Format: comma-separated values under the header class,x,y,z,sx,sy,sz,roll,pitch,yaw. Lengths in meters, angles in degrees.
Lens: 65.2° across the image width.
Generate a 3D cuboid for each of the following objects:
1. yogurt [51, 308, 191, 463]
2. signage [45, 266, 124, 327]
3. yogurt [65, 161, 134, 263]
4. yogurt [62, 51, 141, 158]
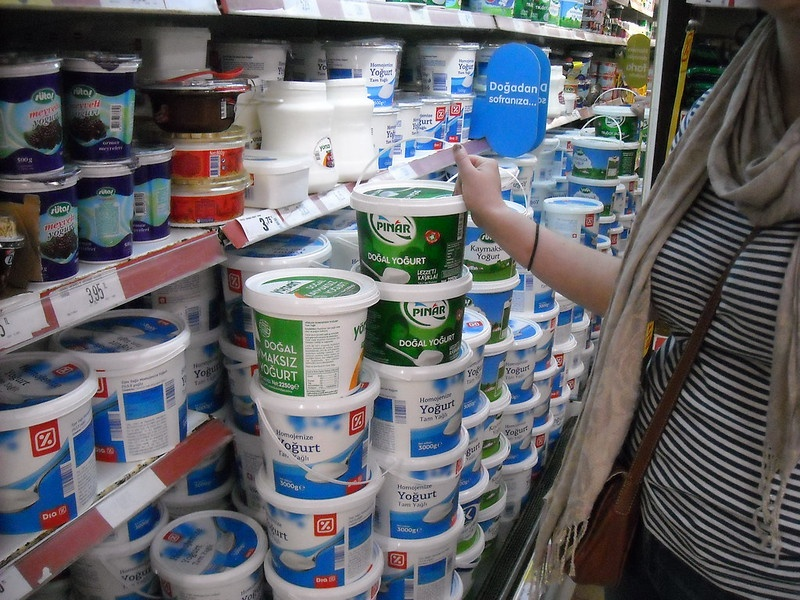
class,x,y,z,sx,sy,sz,roll,pitch,yaw
yogurt,-0.698,0.207,1.587,0.295,0.289,0.300,22,25,38
signage,-0.616,-0.009,1.224,0.097,0.025,0.109,-1,24,44
yogurt,-0.650,-0.193,1.377,0.131,0.205,0.129,10,12,35
yogurt,-0.652,-0.422,1.352,0.177,0.208,0.183,16,21,16
